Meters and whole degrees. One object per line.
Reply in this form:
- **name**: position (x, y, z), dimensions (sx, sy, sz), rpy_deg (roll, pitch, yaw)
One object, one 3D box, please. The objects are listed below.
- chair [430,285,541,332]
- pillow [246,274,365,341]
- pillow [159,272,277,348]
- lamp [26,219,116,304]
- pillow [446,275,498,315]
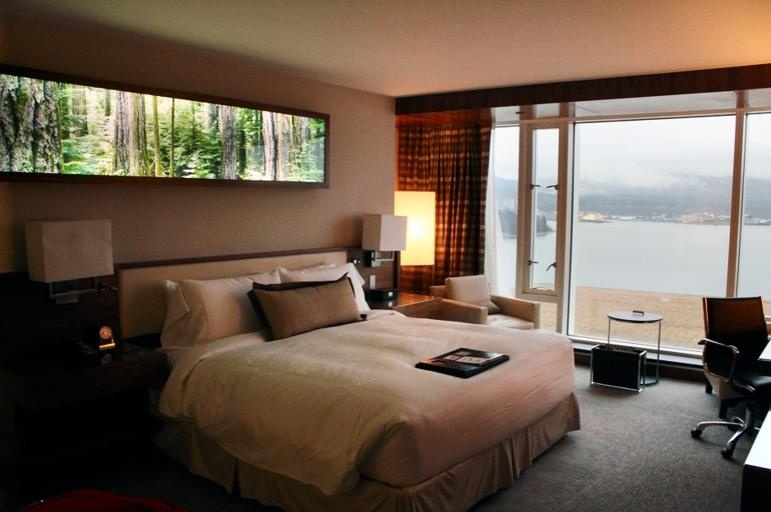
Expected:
- **chair**: position (1.416, 0.682, 6.422), dimensions (0.791, 0.700, 0.748), rpy_deg (3, 4, 42)
- **pillow**: position (-0.782, 0.417, 4.733), dimensions (0.464, 0.453, 1.214), rpy_deg (32, 25, 36)
- **pillow**: position (-1.490, 0.495, 4.572), dimensions (0.231, 0.346, 0.697), rpy_deg (-13, -6, 40)
- **lamp**: position (-2.427, -0.054, 4.002), dimensions (0.558, 0.442, 0.247), rpy_deg (-4, 13, -30)
- **pillow**: position (1.090, 0.471, 6.562), dimensions (0.574, 0.485, 0.168), rpy_deg (-5, -13, -36)
